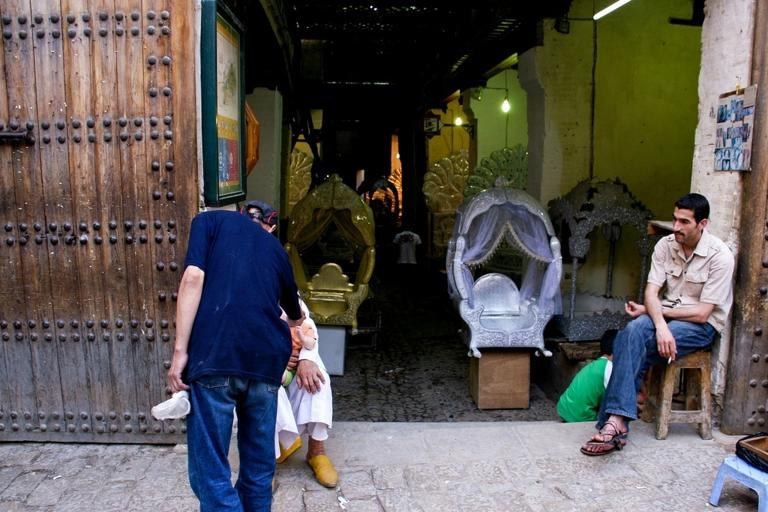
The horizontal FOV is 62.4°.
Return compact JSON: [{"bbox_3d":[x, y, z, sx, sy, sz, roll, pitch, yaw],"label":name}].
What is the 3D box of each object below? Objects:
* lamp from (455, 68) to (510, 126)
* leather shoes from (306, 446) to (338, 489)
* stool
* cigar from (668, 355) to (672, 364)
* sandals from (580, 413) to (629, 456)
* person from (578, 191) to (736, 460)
[{"bbox_3d":[2.145,-3.459,14.036,0.951,1.208,2.374,-2,12,-21],"label":"lamp"},{"bbox_3d":[-0.457,1.582,4.776,0.210,0.198,0.347,-1,12,-15],"label":"leather shoes"},{"bbox_3d":[2.799,1.265,4.984,0.814,1.135,0.888,1,-6,-5],"label":"stool"},{"bbox_3d":[2.311,0.843,5.111,0.037,0.061,0.028,7,13,21],"label":"cigar"},{"bbox_3d":[1.785,1.445,5.140,0.502,0.225,0.195,-1,2,-29],"label":"sandals"},{"bbox_3d":[2.249,0.512,5.184,1.199,2.046,0.582,-4,14,-29],"label":"person"}]
